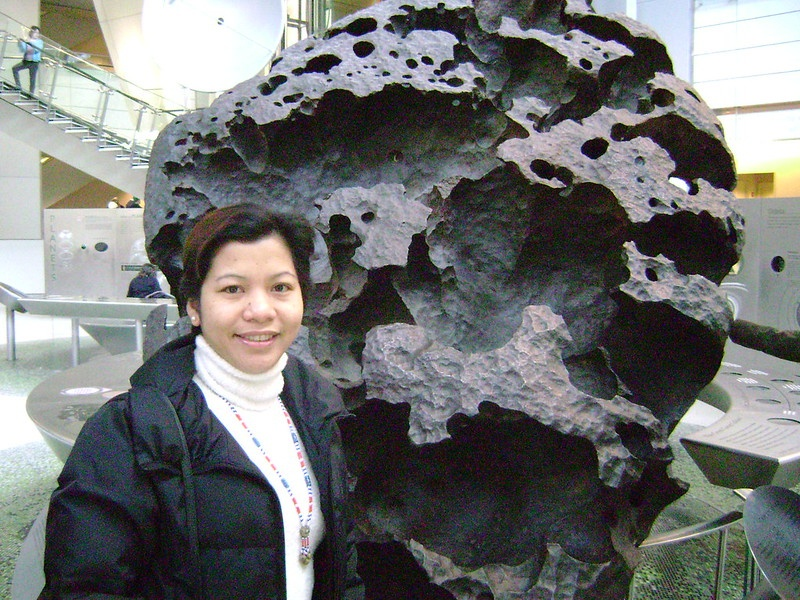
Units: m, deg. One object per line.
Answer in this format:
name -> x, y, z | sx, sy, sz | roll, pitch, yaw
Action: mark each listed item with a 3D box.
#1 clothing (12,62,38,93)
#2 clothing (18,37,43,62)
clothing -> -5.040, -3.002, 8.959 | 0.312, 0.400, 0.182 | 1, 2, -24
clothing -> -4.945, -3.333, 8.892 | 0.296, 0.378, 0.208 | -5, -9, -29
